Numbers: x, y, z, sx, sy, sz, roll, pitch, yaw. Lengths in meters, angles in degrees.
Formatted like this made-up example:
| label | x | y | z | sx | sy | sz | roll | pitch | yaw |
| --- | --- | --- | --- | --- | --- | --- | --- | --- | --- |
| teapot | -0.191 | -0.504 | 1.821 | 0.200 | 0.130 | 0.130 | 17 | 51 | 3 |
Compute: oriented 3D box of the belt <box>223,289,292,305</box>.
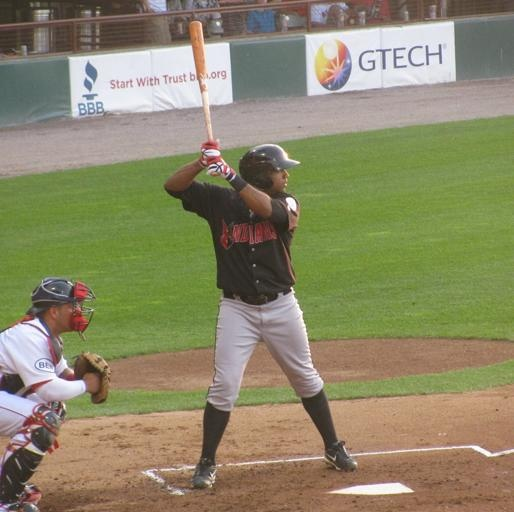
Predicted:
| label | x | y | z | sx | sy | sz | roll | pitch | yaw |
| --- | --- | --- | --- | --- | --- | --- | --- | --- | --- |
| belt | -0.023 | 0.390 | 12.913 | 0.637 | 0.138 | 0.140 | -4 | 9 | 2 |

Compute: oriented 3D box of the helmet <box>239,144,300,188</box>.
| label | x | y | z | sx | sy | sz | roll | pitch | yaw |
| --- | --- | --- | --- | --- | --- | --- | --- | --- | --- |
| helmet | 0.145 | -0.917 | 13.138 | 0.624 | 0.448 | 0.450 | -4 | 19 | 3 |

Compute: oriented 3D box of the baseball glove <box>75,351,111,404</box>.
| label | x | y | z | sx | sy | sz | roll | pitch | yaw |
| --- | --- | --- | --- | --- | --- | --- | --- | --- | --- |
| baseball glove | -1.600 | 1.162 | 12.737 | 0.370 | 0.474 | 0.192 | -7 | 2 | -6 |
